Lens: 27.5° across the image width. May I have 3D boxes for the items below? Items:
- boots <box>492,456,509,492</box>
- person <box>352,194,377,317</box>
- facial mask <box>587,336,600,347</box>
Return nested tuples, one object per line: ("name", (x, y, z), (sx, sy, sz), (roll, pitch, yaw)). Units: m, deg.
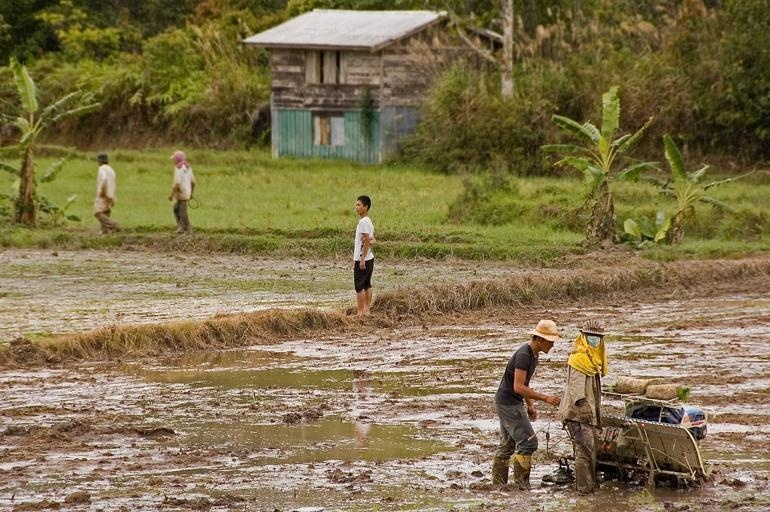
("boots", (2.823, 5.510, 39.999), (0.532, 0.968, 0.607), (-1, -7, 11))
("person", (-0.632, 0.053, 45.905), (0.690, 3.111, 0.922), (3, 0, 1))
("facial mask", (5.317, 2.185, 40.118), (0.234, 0.288, 0.299), (2, -11, -2))
